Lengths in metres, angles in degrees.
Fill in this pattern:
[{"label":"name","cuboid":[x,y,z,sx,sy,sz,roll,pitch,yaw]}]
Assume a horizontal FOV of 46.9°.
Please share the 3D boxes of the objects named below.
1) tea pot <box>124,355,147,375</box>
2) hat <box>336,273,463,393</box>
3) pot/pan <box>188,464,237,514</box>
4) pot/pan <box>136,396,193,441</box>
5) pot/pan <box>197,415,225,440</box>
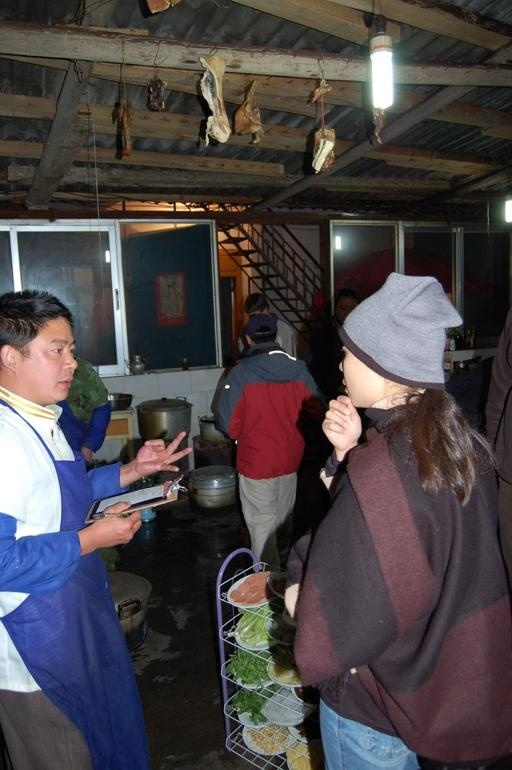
[{"label":"tea pot","cuboid":[-1.228,-0.192,6.208,0.236,0.226,0.169,3,2,2]},{"label":"hat","cuboid":[0.304,-0.124,1.223,0.253,0.202,0.182,30,27,34]},{"label":"pot/pan","cuboid":[-0.351,0.868,4.878,0.398,0.239,0.334,-2,3,-16]},{"label":"pot/pan","cuboid":[-0.823,0.355,5.400,0.514,0.408,0.425,-7,10,-35]},{"label":"pot/pan","cuboid":[-0.420,0.425,5.544,0.318,0.213,0.304,0,1,2]}]
